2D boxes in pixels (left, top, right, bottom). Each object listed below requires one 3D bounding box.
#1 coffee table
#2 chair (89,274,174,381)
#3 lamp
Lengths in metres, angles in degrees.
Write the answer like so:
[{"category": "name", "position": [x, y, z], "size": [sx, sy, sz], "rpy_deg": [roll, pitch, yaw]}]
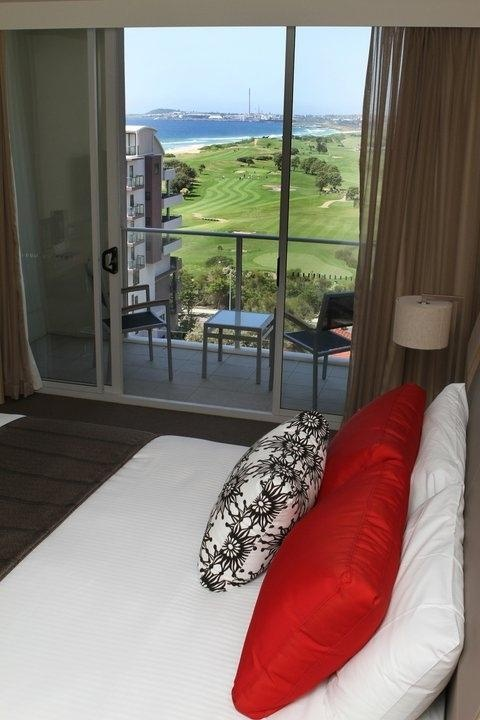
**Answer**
[{"category": "coffee table", "position": [-0.013, -0.192, 4.358], "size": [0.534, 0.598, 0.598], "rpy_deg": [3, 15, 8]}, {"category": "chair", "position": [-0.830, -0.332, 4.313], "size": [0.675, 1.134, 0.658], "rpy_deg": [-4, 19, -11]}, {"category": "lamp", "position": [0.909, -0.140, 2.579], "size": [0.301, 0.292, 0.246], "rpy_deg": [2, 21, 9]}]
